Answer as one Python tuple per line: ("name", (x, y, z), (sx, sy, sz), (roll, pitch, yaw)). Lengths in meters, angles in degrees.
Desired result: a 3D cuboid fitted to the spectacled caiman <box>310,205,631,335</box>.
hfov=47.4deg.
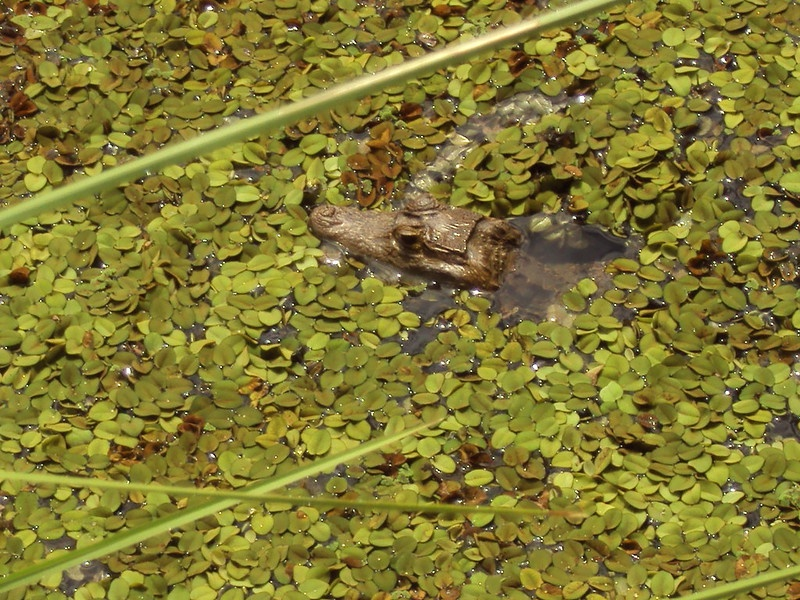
("spectacled caiman", (0.418, -0.363, 5.504), (1.742, 0.347, 0.717), (18, 64, 12))
